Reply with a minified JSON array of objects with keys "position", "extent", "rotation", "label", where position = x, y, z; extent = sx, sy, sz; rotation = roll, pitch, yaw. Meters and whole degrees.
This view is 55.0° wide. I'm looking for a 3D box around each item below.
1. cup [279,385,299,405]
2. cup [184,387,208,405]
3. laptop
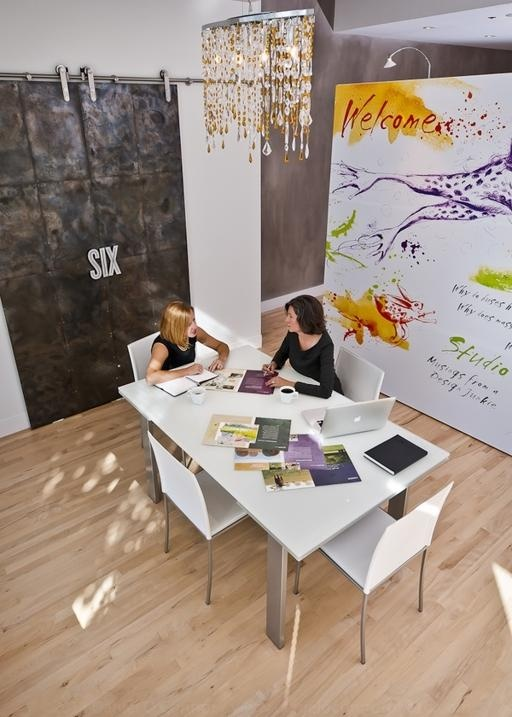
[{"position":[0.159,0.176,2.530],"extent":[0.091,0.071,0.073],"rotation":[28,41,33],"label":"cup"},{"position":[-0.304,0.192,2.517],"extent":[0.097,0.072,0.067],"rotation":[19,36,29],"label":"cup"},{"position":[0.416,0.203,2.211],"extent":[0.301,0.194,0.218],"rotation":[-9,32,-16],"label":"laptop"}]
